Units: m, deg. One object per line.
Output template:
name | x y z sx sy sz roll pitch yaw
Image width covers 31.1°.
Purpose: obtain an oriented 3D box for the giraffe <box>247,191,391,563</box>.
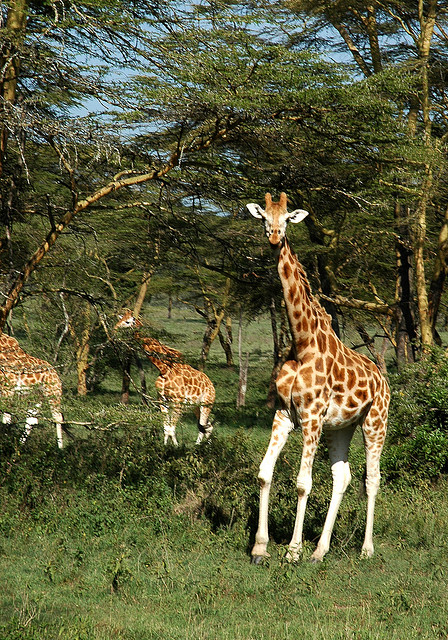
giraffe | 1.147 0.575 10.002 1.707 4.362 3.186 -2 7 6
